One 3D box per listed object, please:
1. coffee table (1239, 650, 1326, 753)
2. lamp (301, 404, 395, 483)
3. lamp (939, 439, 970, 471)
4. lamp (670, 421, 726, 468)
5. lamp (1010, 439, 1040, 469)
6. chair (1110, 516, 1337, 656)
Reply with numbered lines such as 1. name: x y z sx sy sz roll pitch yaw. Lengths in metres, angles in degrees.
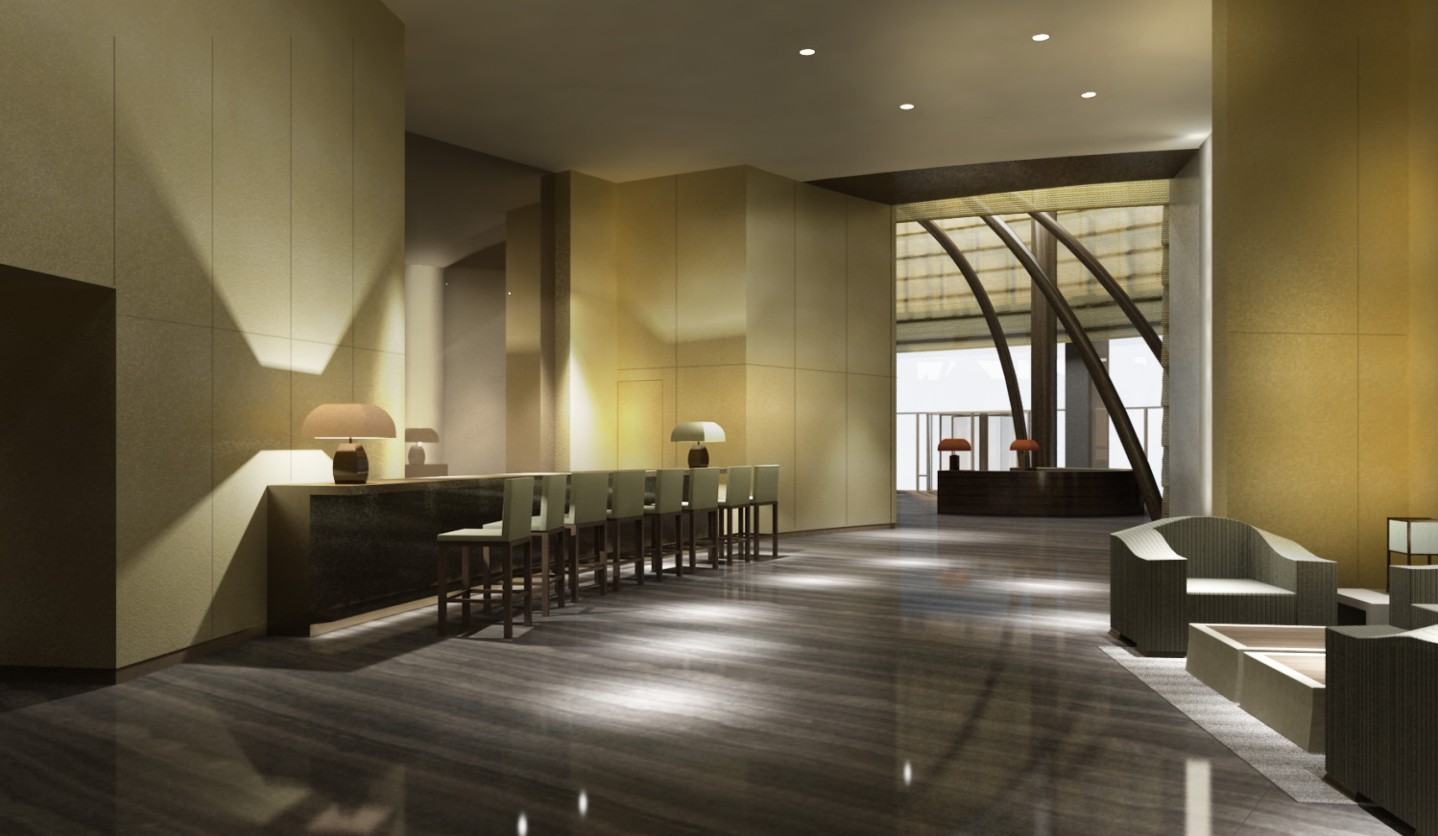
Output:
1. coffee table: 4.096 2.001 7.082 0.531 0.694 0.781 -3 -2 5
2. lamp: -3.460 0.228 9.422 0.792 0.756 0.802 -6 -7 39
3. lamp: 5.576 0.866 23.623 0.793 0.808 0.810 0 -6 6
4. lamp: -0.280 0.327 14.205 0.741 0.679 0.684 -1 -9 11
5. lamp: 6.402 0.726 20.853 0.701 0.709 0.699 0 -4 3
6. chair: 4.411 1.476 8.850 1.599 1.118 1.157 0 -1 3
